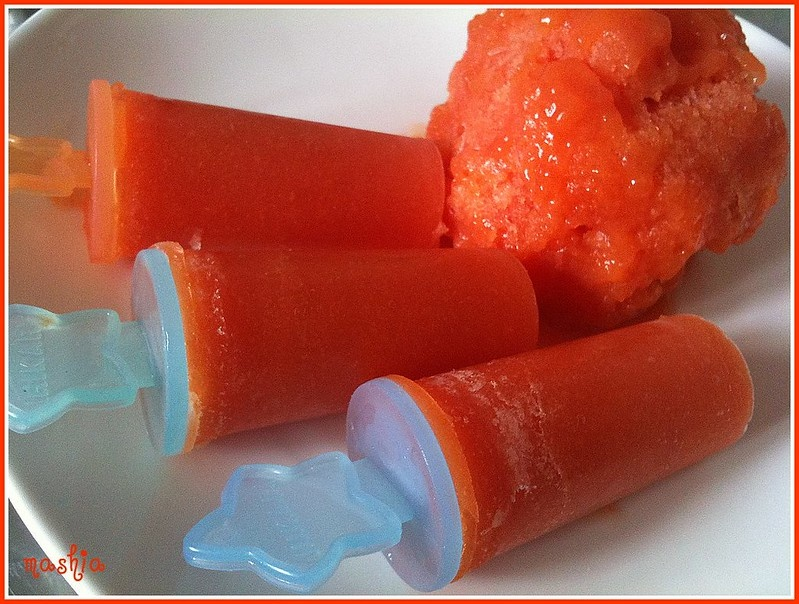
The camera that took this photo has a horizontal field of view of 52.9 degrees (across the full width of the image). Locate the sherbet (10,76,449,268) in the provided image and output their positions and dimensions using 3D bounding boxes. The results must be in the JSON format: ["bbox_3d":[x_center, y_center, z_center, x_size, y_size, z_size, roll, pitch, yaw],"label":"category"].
[{"bbox_3d":[-0.233,-0.150,1.196,0.571,0.242,0.274,6,78,-22],"label":"sherbet"}]
